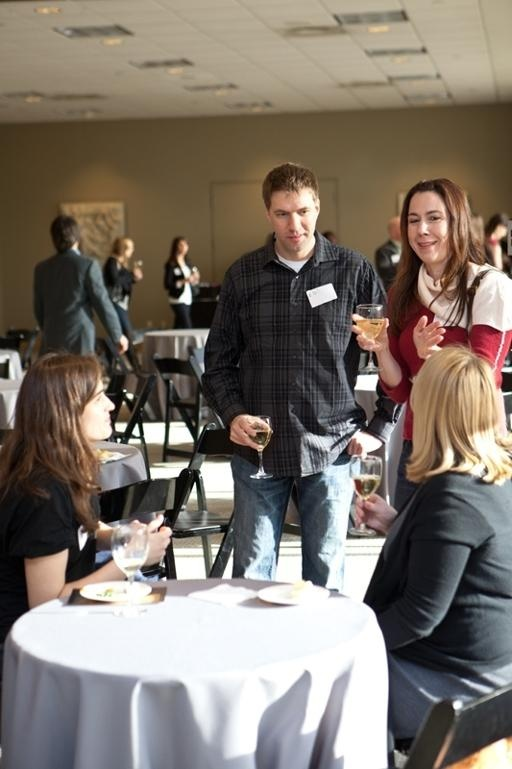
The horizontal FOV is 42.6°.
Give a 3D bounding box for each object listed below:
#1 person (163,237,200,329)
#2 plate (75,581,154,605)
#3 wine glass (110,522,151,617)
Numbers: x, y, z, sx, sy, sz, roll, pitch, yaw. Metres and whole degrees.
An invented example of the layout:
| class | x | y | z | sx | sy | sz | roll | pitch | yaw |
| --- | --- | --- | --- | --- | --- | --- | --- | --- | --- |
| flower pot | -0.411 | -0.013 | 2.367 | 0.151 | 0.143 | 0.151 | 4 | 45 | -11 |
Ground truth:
| class | x | y | z | sx | sy | sz | roll | pitch | yaw |
| --- | --- | --- | --- | --- | --- | --- | --- | --- | --- |
| person | -1.112 | -1.533 | 9.837 | 0.449 | 1.162 | 0.453 | -2 | 1 | -14 |
| plate | -0.312 | 0.456 | 1.430 | 0.085 | 0.011 | 0.081 | 1 | 4 | 10 |
| wine glass | -0.258 | 0.374 | 1.340 | 0.088 | 0.161 | 0.071 | 0 | -5 | -6 |
